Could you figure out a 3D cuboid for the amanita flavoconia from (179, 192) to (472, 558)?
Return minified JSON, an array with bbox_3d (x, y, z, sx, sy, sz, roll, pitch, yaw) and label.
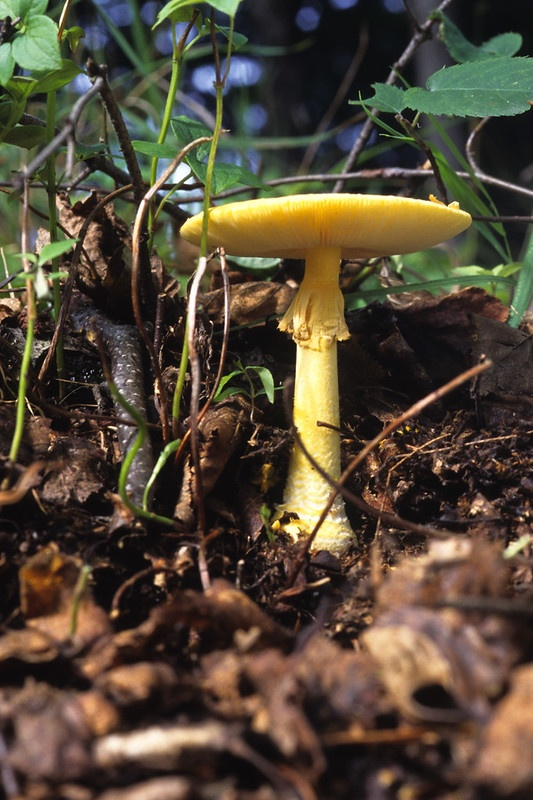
[{"bbox_3d":[0.133,-0.070,2.105,0.671,0.904,0.773,2,15,7],"label":"amanita flavoconia"}]
